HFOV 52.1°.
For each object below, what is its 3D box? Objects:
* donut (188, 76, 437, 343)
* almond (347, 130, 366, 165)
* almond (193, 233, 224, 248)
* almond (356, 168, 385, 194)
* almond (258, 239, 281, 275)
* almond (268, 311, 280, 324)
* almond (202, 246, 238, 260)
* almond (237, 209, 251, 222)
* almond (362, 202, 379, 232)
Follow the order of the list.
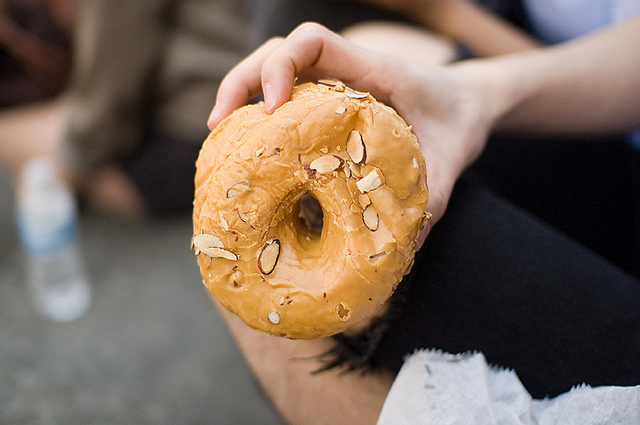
[{"bbox_3d":[-0.012,0.006,1.221,0.439,0.187,0.505,-14,95,4],"label":"donut"},{"bbox_3d":[0.065,-0.121,1.207,0.036,0.012,0.058,2,99,37],"label":"almond"},{"bbox_3d":[-0.207,0.051,1.225,0.044,0.005,0.028,11,92,7],"label":"almond"},{"bbox_3d":[0.095,-0.057,1.210,0.049,0.032,0.025,-21,54,-19],"label":"almond"},{"bbox_3d":[-0.095,0.082,1.231,0.037,0.015,0.064,13,88,-29],"label":"almond"},{"bbox_3d":[-0.087,0.196,1.233,0.020,0.005,0.023,2,94,7],"label":"almond"},{"bbox_3d":[-0.186,0.073,1.230,0.064,0.017,0.023,15,94,1],"label":"almond"},{"bbox_3d":[-0.142,0.006,1.212,0.023,0.016,0.014,10,50,5],"label":"almond"},{"bbox_3d":[0.098,0.008,1.210,0.030,0.012,0.051,-9,91,-2],"label":"almond"}]
